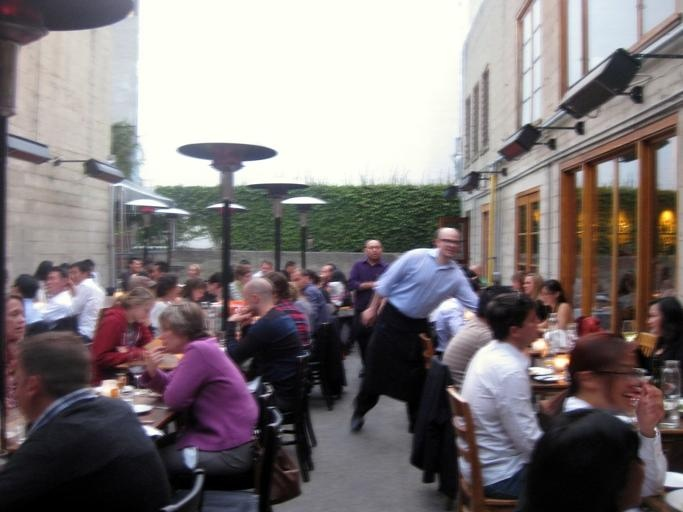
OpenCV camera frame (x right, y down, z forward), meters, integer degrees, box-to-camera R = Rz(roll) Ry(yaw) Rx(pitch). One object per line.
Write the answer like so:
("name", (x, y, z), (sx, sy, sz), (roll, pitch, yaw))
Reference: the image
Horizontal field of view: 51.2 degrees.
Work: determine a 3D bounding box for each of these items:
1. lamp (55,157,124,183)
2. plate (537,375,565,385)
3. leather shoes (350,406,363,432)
("lamp", (-4.651, -1.642, 13.612), (0.911, 0.308, 0.550), (3, 6, -30))
("plate", (1.720, 1.006, 5.860), (0.254, 0.029, 0.324), (1, 3, 15))
("leather shoes", (0.165, 1.726, 7.368), (0.155, 0.216, 0.242), (1, -7, -2))
